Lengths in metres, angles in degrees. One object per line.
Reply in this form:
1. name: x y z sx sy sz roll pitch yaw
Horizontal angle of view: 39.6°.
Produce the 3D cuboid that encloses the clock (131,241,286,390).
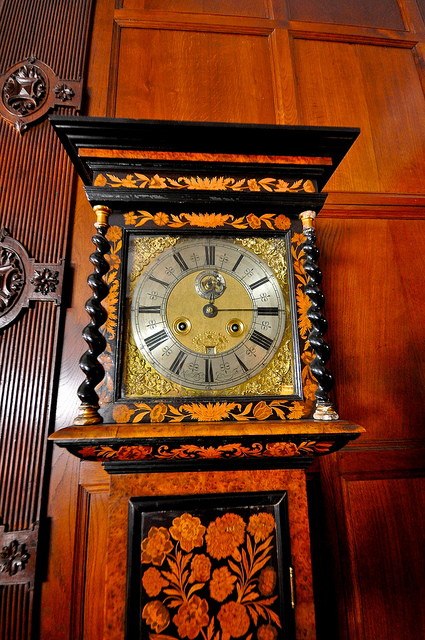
1. clock: -0.021 0.003 1.436 0.385 0.059 0.350 3 76 -3
